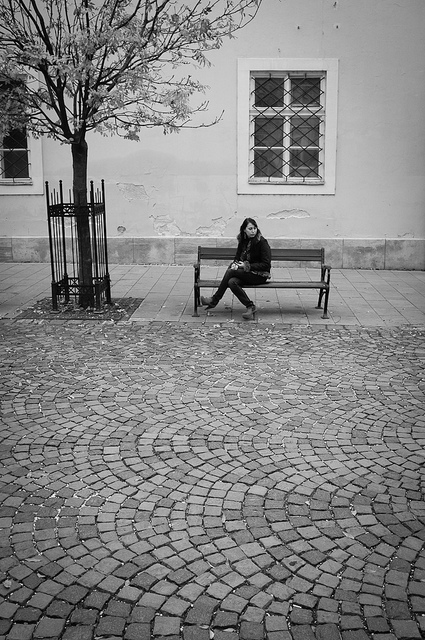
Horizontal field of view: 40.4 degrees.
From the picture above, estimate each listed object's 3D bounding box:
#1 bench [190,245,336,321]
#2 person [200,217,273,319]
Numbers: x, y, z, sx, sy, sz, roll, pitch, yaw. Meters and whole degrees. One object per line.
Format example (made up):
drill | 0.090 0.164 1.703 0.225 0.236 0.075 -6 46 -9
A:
bench | 0.748 -0.596 8.910 2.021 0.925 0.760 1 15 1
person | 0.389 -0.775 8.502 0.895 1.412 0.720 0 12 0
